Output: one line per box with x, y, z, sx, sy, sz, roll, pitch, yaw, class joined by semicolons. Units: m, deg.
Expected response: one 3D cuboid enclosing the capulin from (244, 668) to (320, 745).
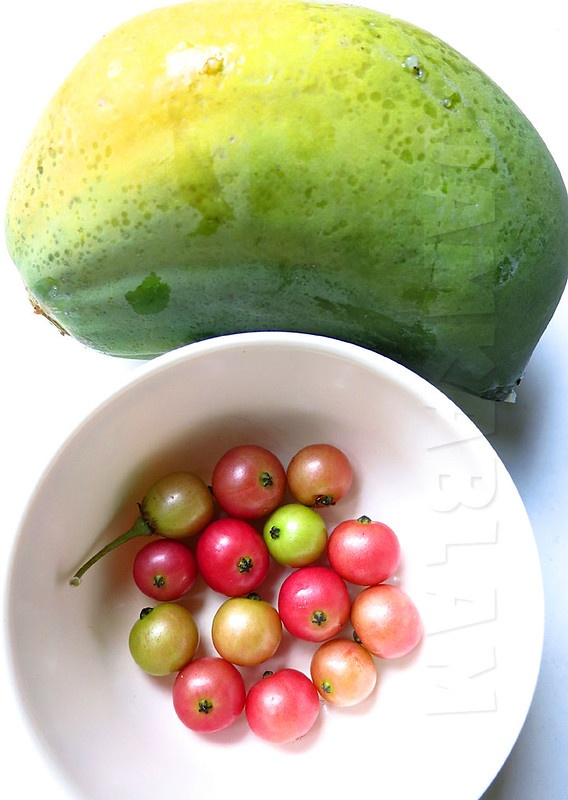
-0.002;0.265;0.680;0.063;0.038;0.056;-39;66;-19;capulin

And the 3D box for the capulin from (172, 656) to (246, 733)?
-0.067;0.258;0.688;0.062;0.039;0.059;-22;62;-10;capulin

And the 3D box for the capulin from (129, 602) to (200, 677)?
-0.110;0.221;0.717;0.061;0.061;0.059;-23;63;-10;capulin
